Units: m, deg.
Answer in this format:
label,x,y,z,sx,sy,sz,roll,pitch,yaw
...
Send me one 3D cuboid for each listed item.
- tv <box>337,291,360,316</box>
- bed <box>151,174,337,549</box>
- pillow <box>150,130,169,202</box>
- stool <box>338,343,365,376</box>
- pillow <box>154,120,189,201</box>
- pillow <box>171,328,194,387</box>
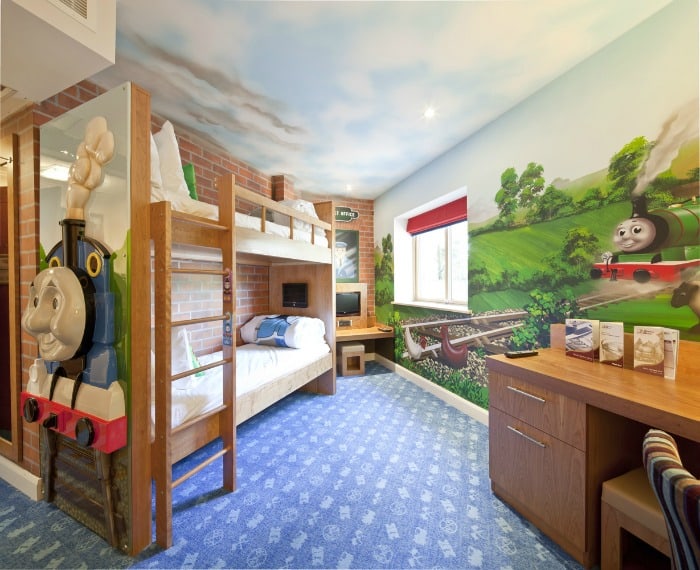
label,x,y,z,sx,sy,sz,roll,pitch,yaw
tv,-0.046,0.257,6.231,0.296,0.269,0.039,-1,5,-23
bed,-1.102,0.321,4.204,1.101,2.439,2.890,2,3,19
pillow,-1.292,-0.768,3.084,0.112,0.425,0.346,2,-4,-17
stool,0.011,0.934,5.894,0.335,0.378,0.343,0,2,-32
pillow,-1.327,-0.936,3.451,0.157,0.593,0.546,-3,-1,-4
pillow,-1.268,0.543,3.534,0.104,0.383,0.315,-2,-1,3
